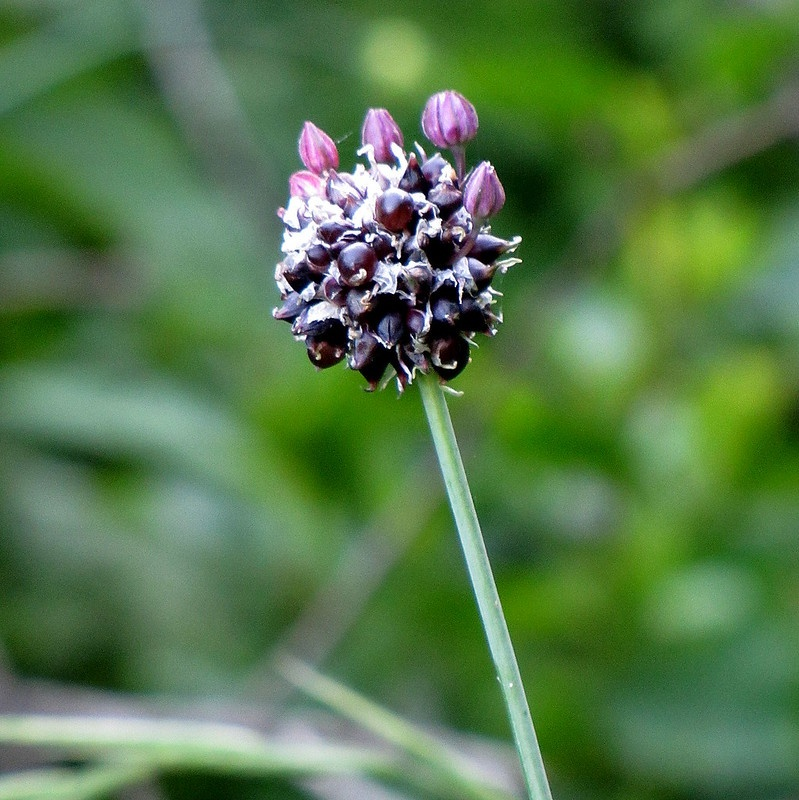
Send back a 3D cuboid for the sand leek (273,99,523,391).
[{"bbox_3d":[0.045,-0.231,1.613,0.366,0.370,0.431,3,-86,9],"label":"sand leek"}]
